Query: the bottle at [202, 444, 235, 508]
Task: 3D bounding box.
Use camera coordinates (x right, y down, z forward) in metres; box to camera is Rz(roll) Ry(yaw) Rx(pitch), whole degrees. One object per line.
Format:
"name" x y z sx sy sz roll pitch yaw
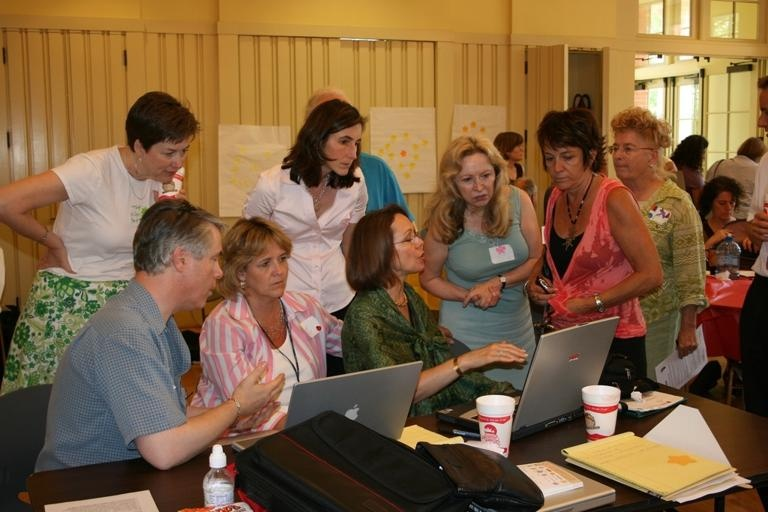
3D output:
"bottle" -0.597 0.744 2.134 0.109 0.234 0.210 -4 9 -19

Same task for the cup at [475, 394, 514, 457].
"cup" 0.426 0.635 2.323 0.191 0.236 0.196 -2 -7 0

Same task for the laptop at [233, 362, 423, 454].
"laptop" -0.121 0.519 2.278 0.481 0.298 0.424 2 2 -41

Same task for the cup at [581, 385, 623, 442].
"cup" 0.873 0.621 2.453 0.179 0.217 0.190 -1 -4 0

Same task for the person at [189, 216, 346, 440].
"person" -0.607 0.188 3.276 0.855 1.168 0.916 10 15 36

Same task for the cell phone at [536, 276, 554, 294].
"cell phone" 0.917 0.162 3.481 0.077 0.087 0.142 -8 11 -37

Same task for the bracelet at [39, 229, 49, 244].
"bracelet" -1.737 -0.098 3.063 0.018 0.062 0.064 30 -39 -21

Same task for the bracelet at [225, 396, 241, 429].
"bracelet" -0.597 0.596 2.378 0.032 0.088 0.066 -2 -12 32

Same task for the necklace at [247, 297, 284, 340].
"necklace" -0.600 0.319 3.067 0.150 0.206 0.059 -16 0 -31

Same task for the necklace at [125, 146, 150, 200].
"necklace" -1.282 -0.446 3.125 0.147 0.209 0.076 4 11 24

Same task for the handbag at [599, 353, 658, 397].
"handbag" 1.122 0.543 2.816 0.239 0.098 0.186 -3 5 -33

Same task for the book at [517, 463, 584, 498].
"book" 0.600 0.790 2.166 0.110 0.018 0.119 -2 11 -17
